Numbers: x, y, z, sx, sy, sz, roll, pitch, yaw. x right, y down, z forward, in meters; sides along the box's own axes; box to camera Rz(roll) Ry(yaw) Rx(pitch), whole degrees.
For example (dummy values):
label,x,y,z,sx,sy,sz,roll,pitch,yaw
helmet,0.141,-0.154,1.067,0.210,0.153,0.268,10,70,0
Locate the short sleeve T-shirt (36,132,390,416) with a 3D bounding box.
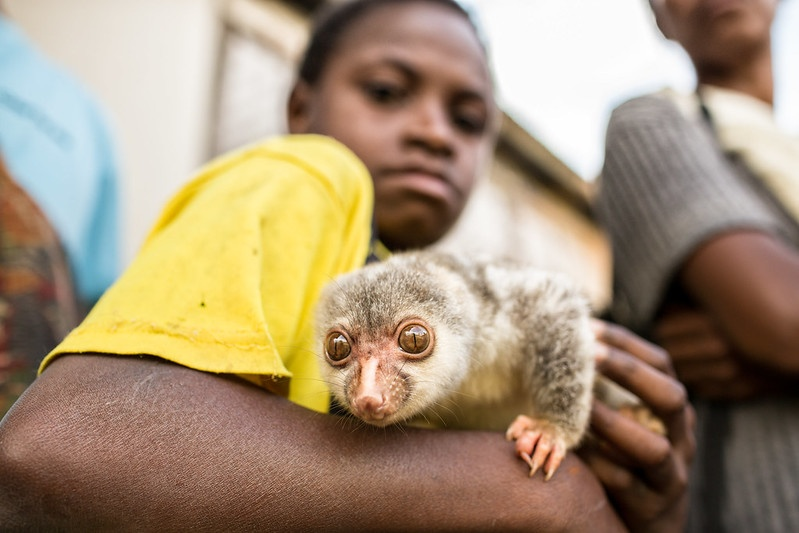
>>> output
label,x,y,z,sx,sy,sz,roll,pitch,yaw
short sleeve T-shirt,-0.538,0.008,2.580,0.769,0.432,1.106,32,60,0
